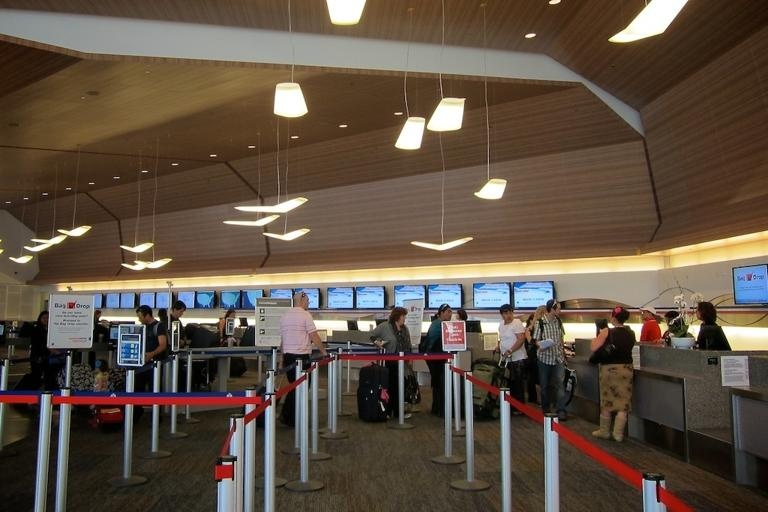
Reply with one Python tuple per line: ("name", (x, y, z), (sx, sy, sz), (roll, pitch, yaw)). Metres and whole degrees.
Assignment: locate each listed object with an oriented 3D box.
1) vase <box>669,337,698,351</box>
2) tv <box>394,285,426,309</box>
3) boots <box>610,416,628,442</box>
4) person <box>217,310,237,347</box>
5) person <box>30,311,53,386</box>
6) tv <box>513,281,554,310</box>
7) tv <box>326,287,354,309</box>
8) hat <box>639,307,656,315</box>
("vase", (4.620, 1.361, 8.376), (0.272, 0.158, 0.250), (0, -10, 7))
("tv", (0.760, 1.117, 15.118), (0.804, 0.444, 0.075), (-2, -12, 25))
("boots", (3.777, 2.706, 8.684), (0.226, 0.477, 0.269), (-3, -9, 13))
("person", (-3.966, 1.768, 13.674), (0.345, 0.920, 2.168), (2, -9, -16))
("person", (-6.711, 1.805, 10.600), (0.328, 1.483, 1.137), (6, -11, -32))
("tv", (3.999, 1.026, 14.358), (0.895, 0.544, 0.114), (-2, -12, 28))
("tv", (-1.403, 1.350, 17.626), (1.074, 0.716, 0.137), (-6, -11, 31))
("hat", (6.178, 1.281, 12.704), (0.312, 0.141, 0.209), (9, -6, 21))
